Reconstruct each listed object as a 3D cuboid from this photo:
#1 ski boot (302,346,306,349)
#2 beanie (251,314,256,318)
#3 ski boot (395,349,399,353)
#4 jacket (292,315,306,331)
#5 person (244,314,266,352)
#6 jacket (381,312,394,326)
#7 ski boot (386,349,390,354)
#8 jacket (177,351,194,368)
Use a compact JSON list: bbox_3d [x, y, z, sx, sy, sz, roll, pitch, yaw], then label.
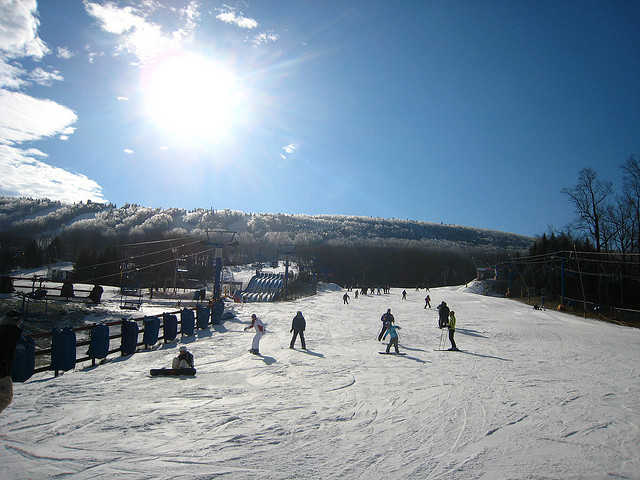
[{"bbox_3d":[-0.772,5.134,22.063,0.109,0.140,0.125,-1,-6,19],"label":"ski boot"},{"bbox_3d":[-2.995,3.431,20.830,0.145,0.205,0.201,5,3,3],"label":"beanie"},{"bbox_3d":[3.646,5.241,21.880,0.170,0.203,0.186,-2,-5,17],"label":"ski boot"},{"bbox_3d":[-1.043,4.042,22.207,0.678,1.114,0.536,3,-10,-10],"label":"jacket"},{"bbox_3d":[-3.002,4.353,21.903,0.677,1.675,2.876,2,-8,-7],"label":"person"},{"bbox_3d":[3.472,4.022,23.860,0.801,0.906,0.479,1,-13,4],"label":"jacket"},{"bbox_3d":[3.192,5.219,21.631,0.138,0.220,0.123,-1,-7,-21],"label":"ski boot"},{"bbox_3d":[-5.103,4.539,17.509,0.538,0.459,0.327,17,-42,-21],"label":"jacket"}]
